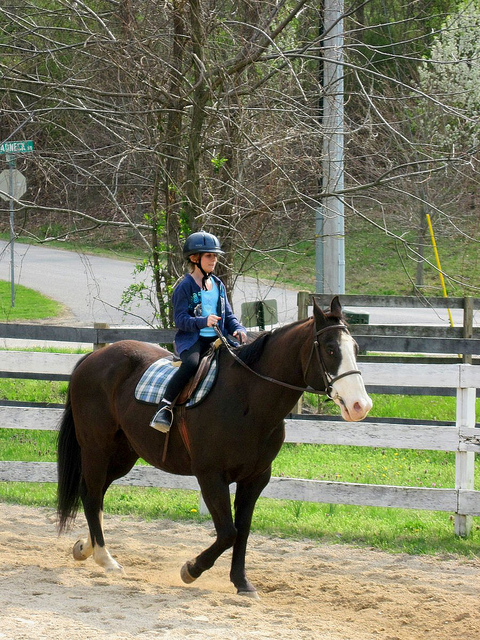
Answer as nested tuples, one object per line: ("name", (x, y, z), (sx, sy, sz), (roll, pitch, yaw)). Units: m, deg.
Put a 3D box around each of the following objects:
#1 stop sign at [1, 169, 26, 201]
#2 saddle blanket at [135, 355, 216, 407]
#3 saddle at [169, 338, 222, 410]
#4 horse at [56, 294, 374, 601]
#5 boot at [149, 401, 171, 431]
("stop sign", (-2.467, -1.462, 12.429), (0.277, 0.339, 1.492), (2, 9, -10))
("saddle blanket", (-0.495, 0.433, 9.130), (0.633, 0.172, 0.714), (-21, -16, 7))
("saddle", (-0.358, 0.407, 8.852), (0.383, 0.534, 0.487), (-1, 11, -16))
("horse", (-0.341, 1.063, 9.010), (3.383, 2.322, 0.867), (-2, -4, 44))
("boot", (-0.601, 0.720, 8.654), (0.142, 0.210, 0.222), (3, 9, -4))
